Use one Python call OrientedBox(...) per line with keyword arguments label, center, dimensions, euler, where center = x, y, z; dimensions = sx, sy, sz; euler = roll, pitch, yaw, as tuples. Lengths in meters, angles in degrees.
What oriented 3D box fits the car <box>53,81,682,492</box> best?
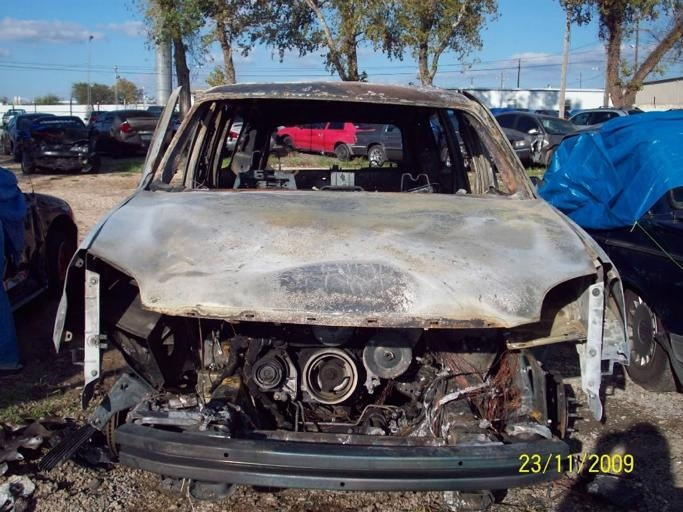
OrientedBox(label="car", center=(0.026, 0.024, 3.502), dimensions=(2.838, 2.303, 2.443), euler=(1, 13, 7))
